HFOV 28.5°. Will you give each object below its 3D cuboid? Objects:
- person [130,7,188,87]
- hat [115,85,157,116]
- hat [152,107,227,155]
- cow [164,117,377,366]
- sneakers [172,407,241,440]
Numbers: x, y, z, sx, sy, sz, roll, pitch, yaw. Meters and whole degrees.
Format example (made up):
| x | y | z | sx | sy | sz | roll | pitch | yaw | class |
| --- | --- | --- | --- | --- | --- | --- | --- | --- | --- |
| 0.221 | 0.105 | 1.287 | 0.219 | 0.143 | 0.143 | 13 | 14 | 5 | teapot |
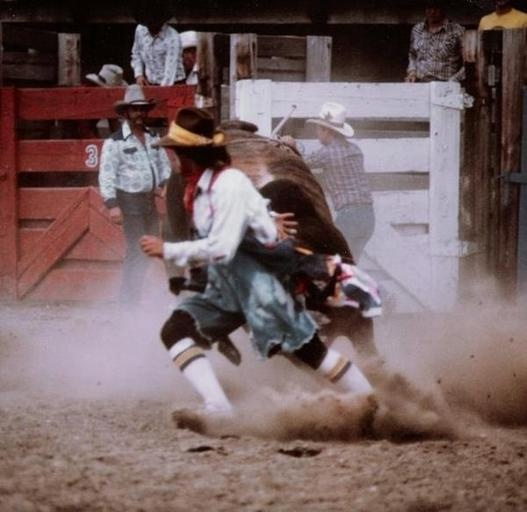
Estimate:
| x | y | z | sx | sy | sz | roll | pitch | yaw | class |
| --- | --- | --- | --- | --- | --- | --- | --- | --- | --- |
| -0.883 | -1.654 | 8.503 | 0.363 | 0.742 | 0.794 | -2 | 47 | -2 | person |
| -1.016 | -1.159 | 7.903 | 0.205 | 0.115 | 0.282 | -7 | -11 | -15 | hat |
| -0.381 | -0.693 | 5.481 | 0.432 | 0.192 | 0.308 | 3 | 18 | -7 | hat |
| 0.032 | -0.063 | 6.031 | 0.553 | 1.091 | 1.886 | -16 | 38 | -12 | cow |
| -0.339 | 0.918 | 5.589 | 0.270 | 0.109 | 0.170 | 10 | -19 | 3 | sneakers |
